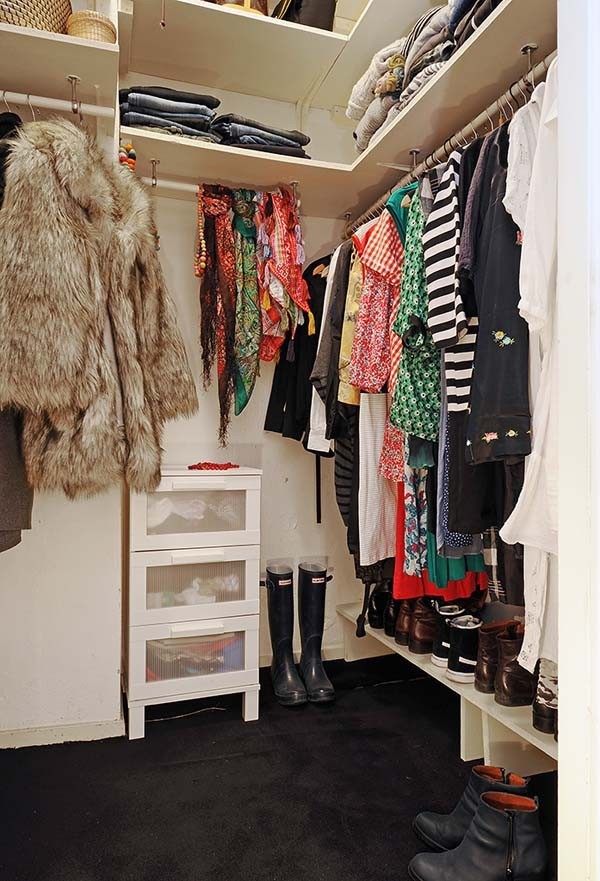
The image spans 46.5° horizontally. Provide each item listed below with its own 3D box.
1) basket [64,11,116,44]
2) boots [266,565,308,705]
[{"bbox_3d":[-0.472,-0.923,1.567,0.103,0.057,0.104,2,9,-3],"label":"basket"},{"bbox_3d":[-0.045,0.571,2.040,0.103,0.338,0.206,0,1,-8],"label":"boots"}]
